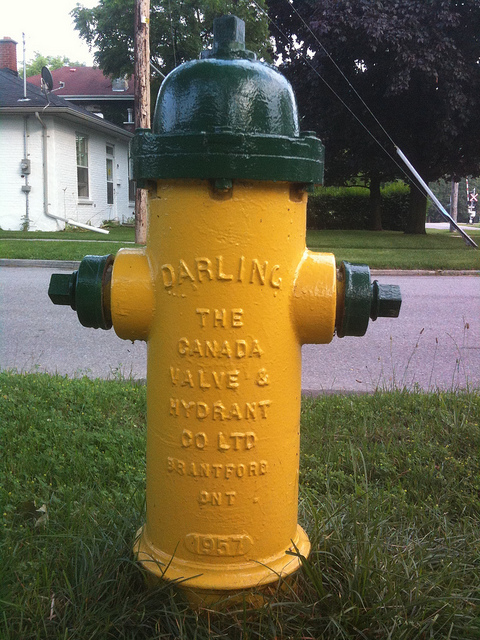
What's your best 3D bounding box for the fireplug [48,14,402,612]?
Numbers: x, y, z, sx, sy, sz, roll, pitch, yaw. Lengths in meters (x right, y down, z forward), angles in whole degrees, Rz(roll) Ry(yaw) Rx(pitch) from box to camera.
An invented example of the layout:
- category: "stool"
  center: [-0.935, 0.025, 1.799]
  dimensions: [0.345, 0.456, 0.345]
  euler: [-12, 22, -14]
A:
- category: "fireplug"
  center: [-0.091, -0.027, 2.341]
  dimensions: [0.716, 1.655, 0.365]
  euler: [2, 7, 14]
